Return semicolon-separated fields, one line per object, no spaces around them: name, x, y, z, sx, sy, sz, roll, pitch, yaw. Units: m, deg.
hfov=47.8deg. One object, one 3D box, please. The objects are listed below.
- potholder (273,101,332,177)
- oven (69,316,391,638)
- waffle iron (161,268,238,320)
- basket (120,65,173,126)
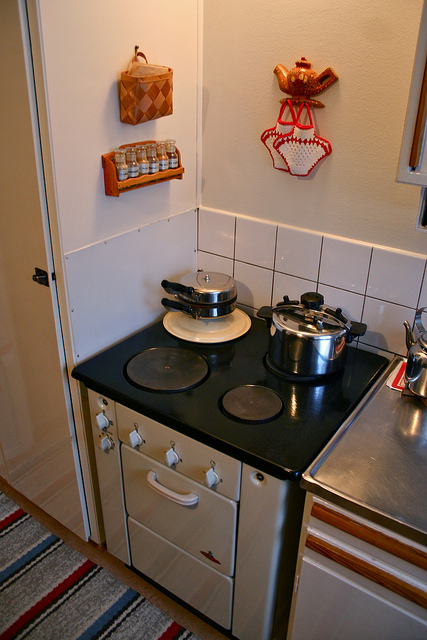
potholder;0.250;-0.507;1.334;0.211;0.256;0.030;10;45;20
oven;-0.014;0.451;1.783;1.019;1.072;0.777;25;41;35
waffle iron;-0.039;-0.104;1.599;0.225;0.161;0.200;19;31;30
basket;-0.175;-0.580;1.231;0.080;0.102;0.145;26;46;22
